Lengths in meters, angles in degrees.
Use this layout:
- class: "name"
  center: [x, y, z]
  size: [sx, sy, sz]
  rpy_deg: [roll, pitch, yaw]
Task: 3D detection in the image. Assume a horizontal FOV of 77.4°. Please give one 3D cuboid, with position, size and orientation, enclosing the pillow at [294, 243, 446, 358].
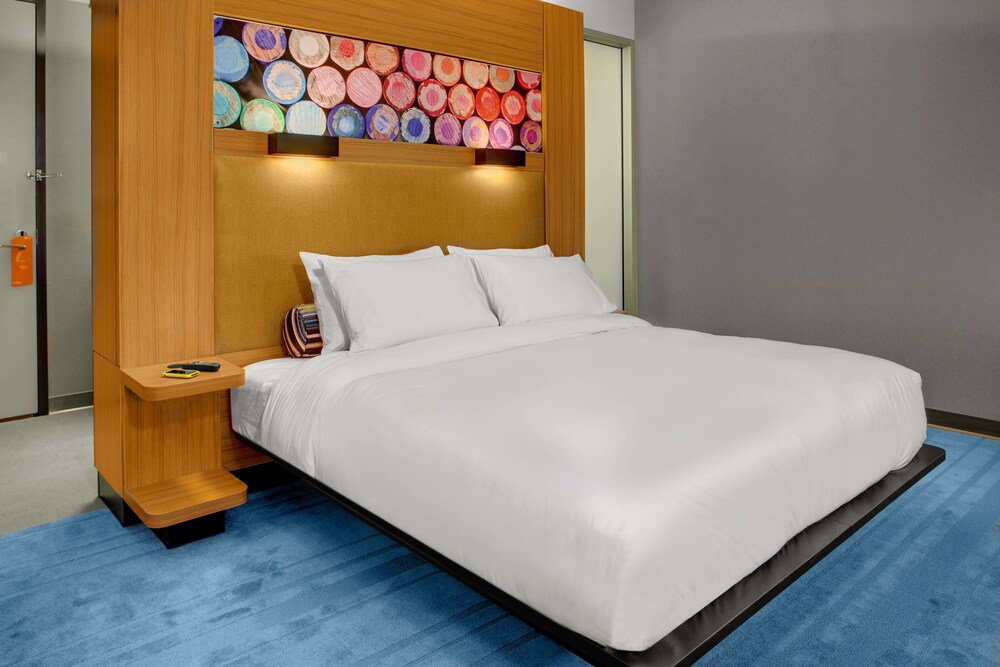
- class: "pillow"
  center: [-0.726, -0.161, 3.420]
  size: [0.550, 0.382, 0.153]
  rpy_deg: [-18, -8, -15]

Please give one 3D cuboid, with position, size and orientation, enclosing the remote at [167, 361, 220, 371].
- class: "remote"
  center: [-1.507, 0.164, 3.096]
  size: [0.194, 0.055, 0.104]
  rpy_deg: [1, 1, 1]
